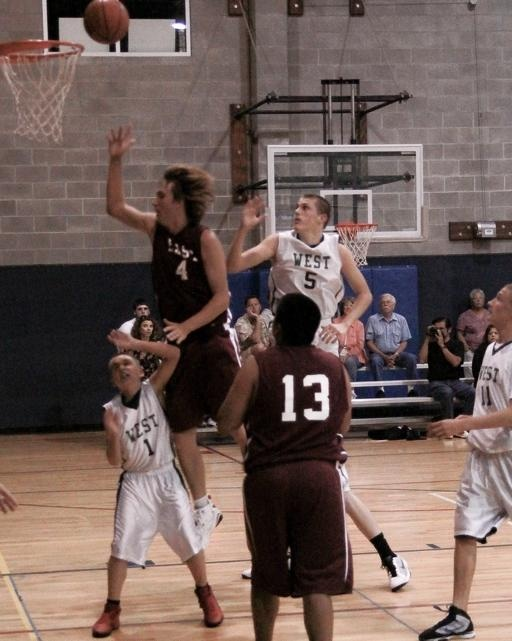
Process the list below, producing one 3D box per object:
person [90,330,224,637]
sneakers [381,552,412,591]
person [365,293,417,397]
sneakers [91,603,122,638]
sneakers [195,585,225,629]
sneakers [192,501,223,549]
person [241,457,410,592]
[{"bbox_3d":[-0.458,0.661,3.935,0.588,1.259,0.514,-2,2,-40],"label":"person"},{"bbox_3d":[0.655,1.152,4.218,0.094,0.072,0.212,43,6,4],"label":"sneakers"},{"bbox_3d":[1.468,0.178,10.040,0.534,0.929,0.463,-1,1,7],"label":"person"},{"bbox_3d":[-0.609,1.237,3.792,0.067,0.120,0.172,-1,-7,16],"label":"sneakers"},{"bbox_3d":[-0.210,1.207,3.924,0.075,0.094,0.221,-36,20,0],"label":"sneakers"},{"bbox_3d":[-0.226,0.884,4.149,0.061,0.081,0.197,11,8,28],"label":"sneakers"},{"bbox_3d":[0.316,0.794,4.242,0.628,0.819,0.690,-5,-11,24],"label":"person"}]
